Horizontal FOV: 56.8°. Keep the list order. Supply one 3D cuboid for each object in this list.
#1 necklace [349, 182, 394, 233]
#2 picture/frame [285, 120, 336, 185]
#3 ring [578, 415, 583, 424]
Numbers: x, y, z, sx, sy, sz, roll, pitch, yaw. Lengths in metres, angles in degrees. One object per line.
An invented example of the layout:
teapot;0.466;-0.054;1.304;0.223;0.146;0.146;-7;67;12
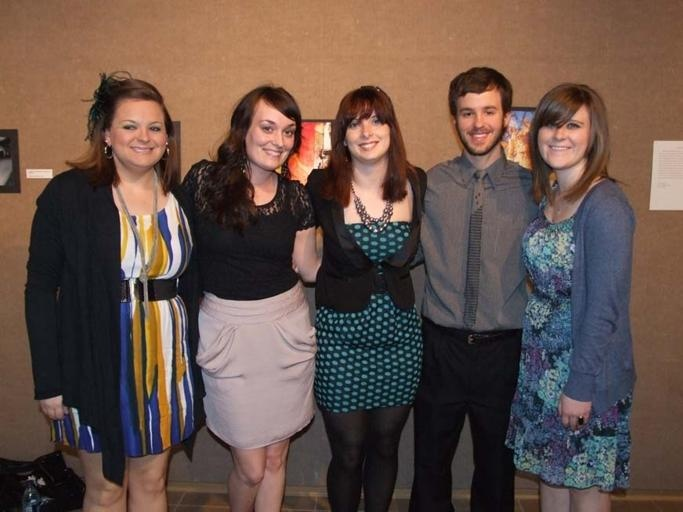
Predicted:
necklace;0.177;-0.273;3.677;0.243;0.263;0.142;0;8;1
picture/frame;-0.191;-0.669;3.975;0.431;0.561;0.023;0;9;0
ring;1.278;0.881;3.366;0.030;0.052;0.011;-4;9;-21
